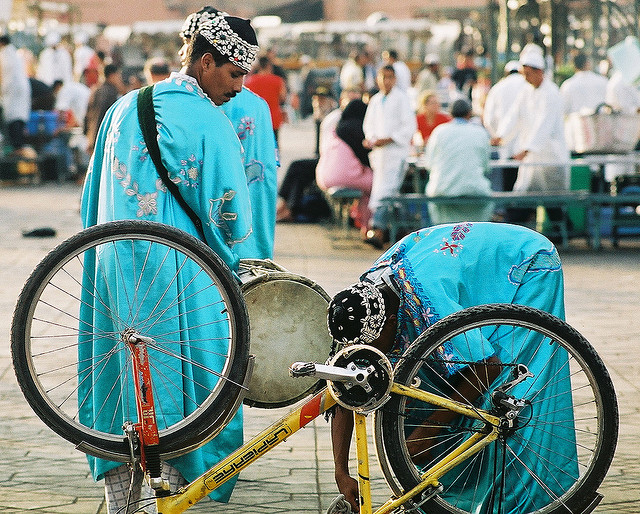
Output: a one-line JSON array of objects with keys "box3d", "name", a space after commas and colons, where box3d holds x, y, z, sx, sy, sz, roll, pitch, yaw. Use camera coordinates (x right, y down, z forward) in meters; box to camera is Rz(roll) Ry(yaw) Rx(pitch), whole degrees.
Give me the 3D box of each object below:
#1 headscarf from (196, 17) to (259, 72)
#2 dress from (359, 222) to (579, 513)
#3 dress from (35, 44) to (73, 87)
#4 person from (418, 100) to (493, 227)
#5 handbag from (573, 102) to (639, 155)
[{"box3d": [-0.508, -1.199, 8.635, 0.285, 0.122, 0.301, 43, -17, -32], "name": "headscarf"}, {"box3d": [0.839, 0.658, 8.592, 1.693, 1.974, 1.156, -3, 8, -9], "name": "dress"}, {"box3d": [-4.333, -3.168, 25.309, 0.471, 0.645, 0.591, -1, 8, -14], "name": "dress"}, {"box3d": [1.317, -0.888, 14.653, 0.685, 1.208, 0.595, 0, 8, -7], "name": "person"}, {"box3d": [2.946, -1.304, 15.849, 0.577, 0.334, 0.524, -4, -7, 24], "name": "handbag"}]
